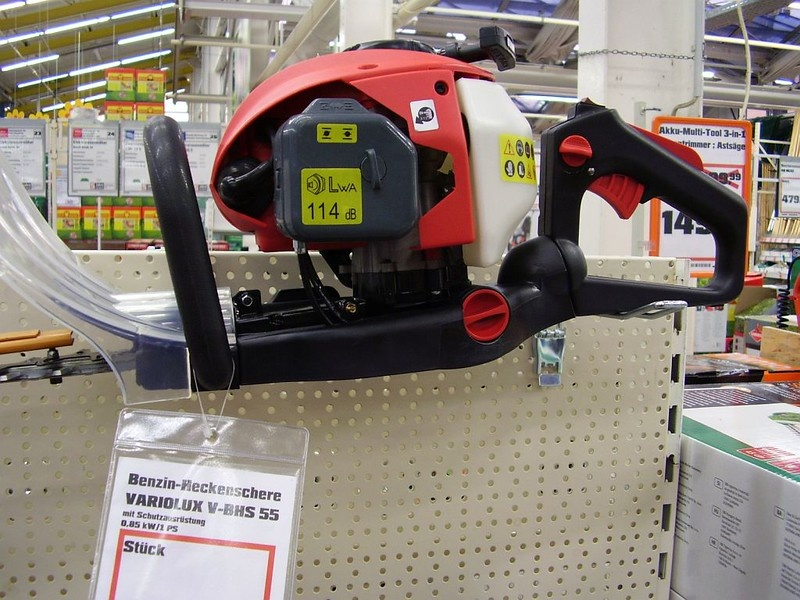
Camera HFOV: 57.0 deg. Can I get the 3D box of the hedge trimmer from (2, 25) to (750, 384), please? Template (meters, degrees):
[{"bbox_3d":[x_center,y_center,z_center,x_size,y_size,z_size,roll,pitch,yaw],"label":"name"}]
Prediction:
[{"bbox_3d":[0.070,-0.158,1.148,1.018,0.551,0.399,2,5,-13],"label":"hedge trimmer"}]
